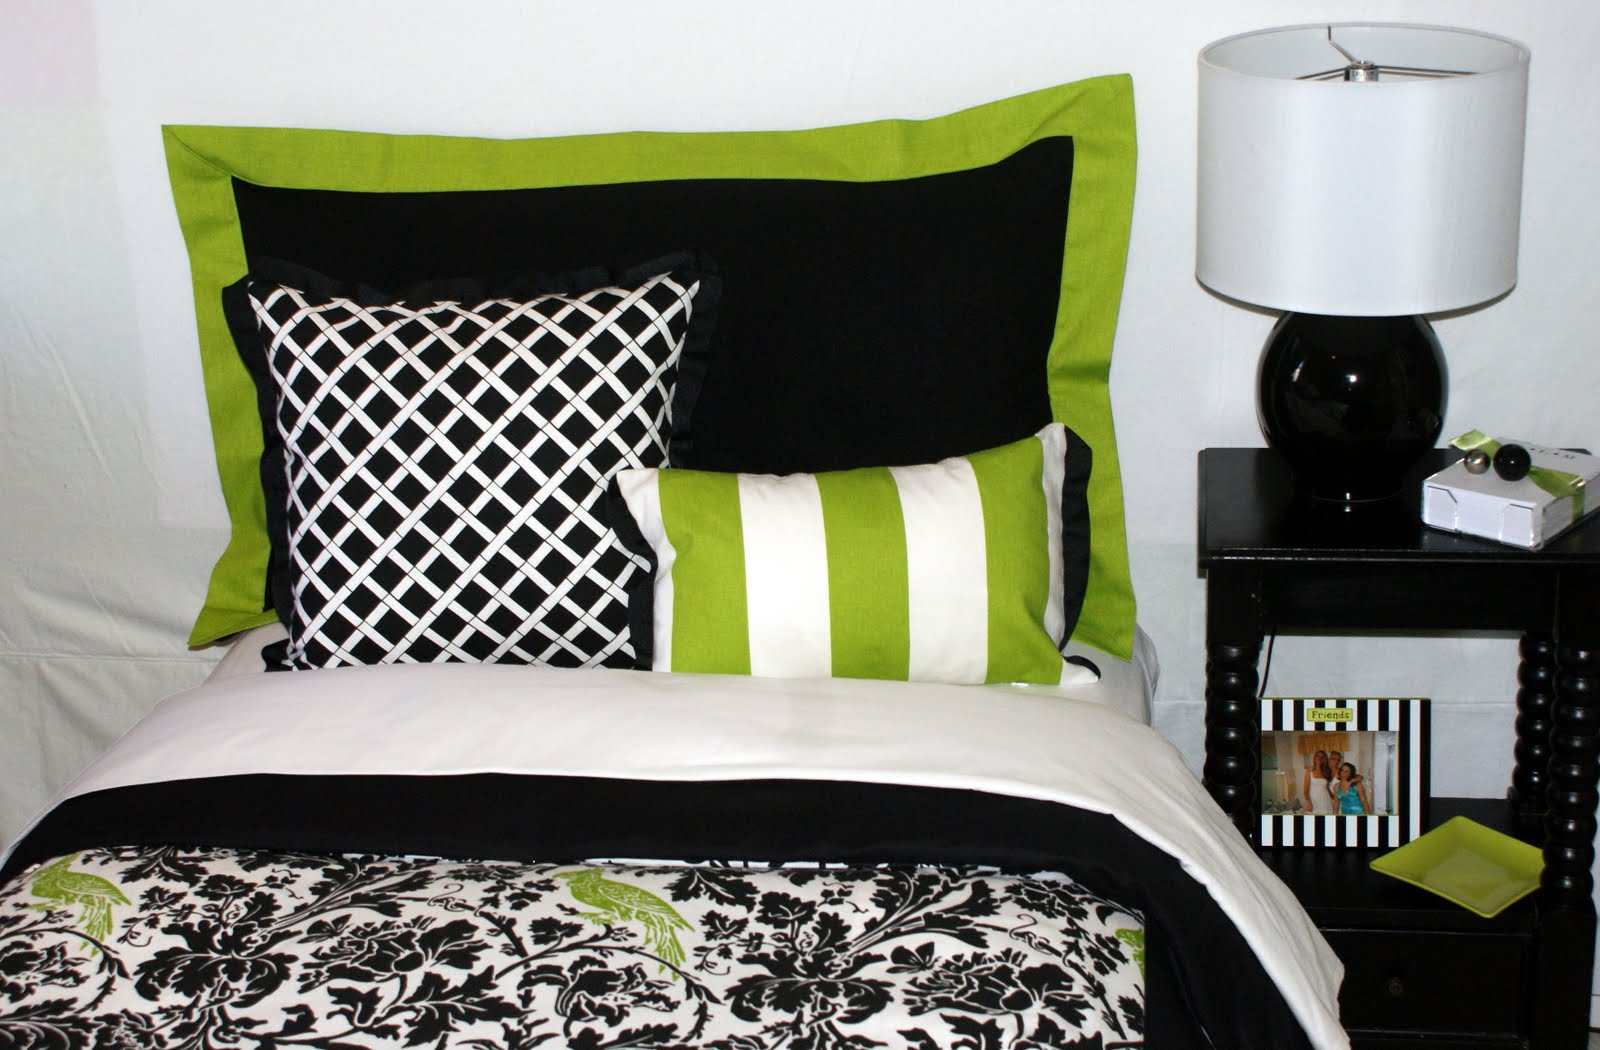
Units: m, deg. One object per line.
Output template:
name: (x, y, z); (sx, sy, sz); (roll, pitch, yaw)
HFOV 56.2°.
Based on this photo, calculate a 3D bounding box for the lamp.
lamp: (0.984, -0.471, 2.699); (0.557, 0.873, 0.365); (2, 11, 6)
